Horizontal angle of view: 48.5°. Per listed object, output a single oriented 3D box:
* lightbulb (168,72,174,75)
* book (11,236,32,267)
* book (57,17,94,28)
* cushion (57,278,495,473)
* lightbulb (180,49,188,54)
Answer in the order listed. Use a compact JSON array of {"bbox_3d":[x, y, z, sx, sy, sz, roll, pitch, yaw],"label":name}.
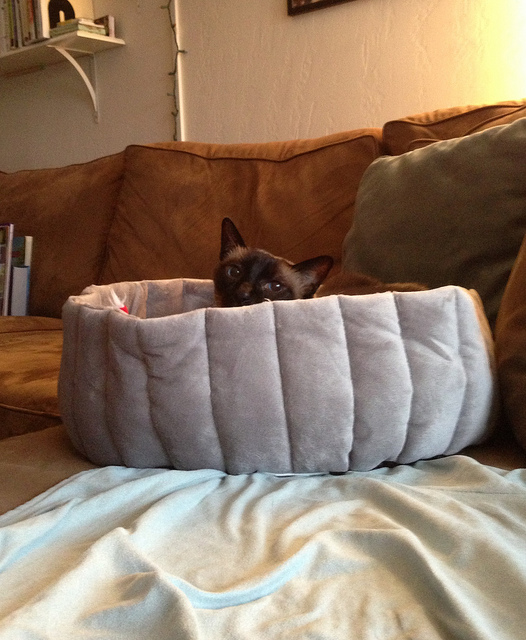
[{"bbox_3d":[-0.421,-1.139,2.694,0.023,0.009,0.028,1,10,-6],"label":"lightbulb"},{"bbox_3d":[-0.740,-0.210,1.804,0.094,0.083,0.028,1,-3,17],"label":"book"},{"bbox_3d":[-0.861,-1.382,2.706,0.168,0.049,0.114,-8,16,-15],"label":"book"},{"bbox_3d":[-0.013,0.018,0.626,0.326,0.116,0.256,-2,1,-6],"label":"cushion"},{"bbox_3d":[-0.353,-1.218,2.641,0.022,0.009,0.026,3,10,-7],"label":"lightbulb"}]
